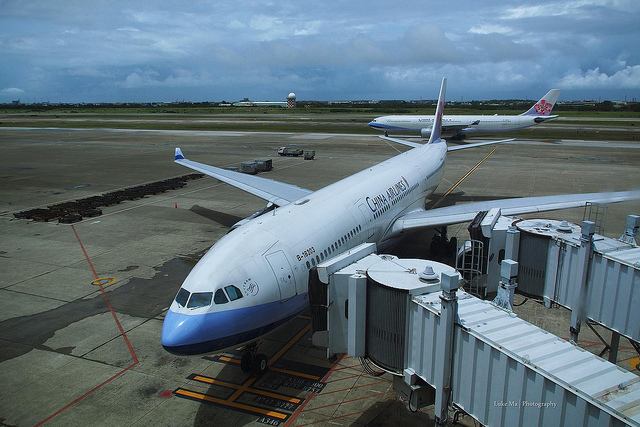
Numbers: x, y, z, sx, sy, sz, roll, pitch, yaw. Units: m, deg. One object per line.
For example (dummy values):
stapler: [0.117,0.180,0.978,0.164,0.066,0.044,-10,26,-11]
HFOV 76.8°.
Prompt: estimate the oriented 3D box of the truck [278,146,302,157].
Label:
truck: [-5.543,-11.537,75.985,4.428,1.259,1.772,4,9,16]
